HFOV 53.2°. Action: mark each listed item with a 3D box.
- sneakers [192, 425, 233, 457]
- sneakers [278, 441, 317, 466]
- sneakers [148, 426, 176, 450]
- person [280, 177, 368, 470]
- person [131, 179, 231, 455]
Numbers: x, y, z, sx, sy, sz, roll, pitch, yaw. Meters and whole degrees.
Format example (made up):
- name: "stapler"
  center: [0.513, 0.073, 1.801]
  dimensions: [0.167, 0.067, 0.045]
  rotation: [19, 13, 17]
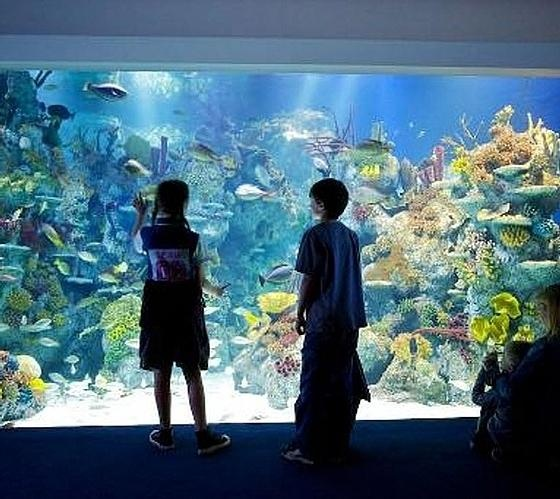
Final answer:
- name: "sneakers"
  center: [-0.624, 1.738, 5.141]
  dimensions: [0.390, 0.239, 0.152]
  rotation: [-2, 1, -45]
- name: "sneakers"
  center: [0.159, 1.809, 5.026]
  dimensions: [0.321, 0.145, 0.130]
  rotation: [19, 18, 30]
- name: "sneakers"
  center: [-1.116, 1.722, 5.174]
  dimensions: [0.132, 0.202, 0.283]
  rotation: [4, 4, -33]
- name: "person"
  center: [0.452, 0.631, 4.938]
  dimensions: [0.657, 2.435, 0.761]
  rotation: [6, 14, 26]
- name: "person"
  center: [-0.901, 0.607, 5.037]
  dimensions: [0.757, 2.414, 0.570]
  rotation: [-2, 12, -7]
